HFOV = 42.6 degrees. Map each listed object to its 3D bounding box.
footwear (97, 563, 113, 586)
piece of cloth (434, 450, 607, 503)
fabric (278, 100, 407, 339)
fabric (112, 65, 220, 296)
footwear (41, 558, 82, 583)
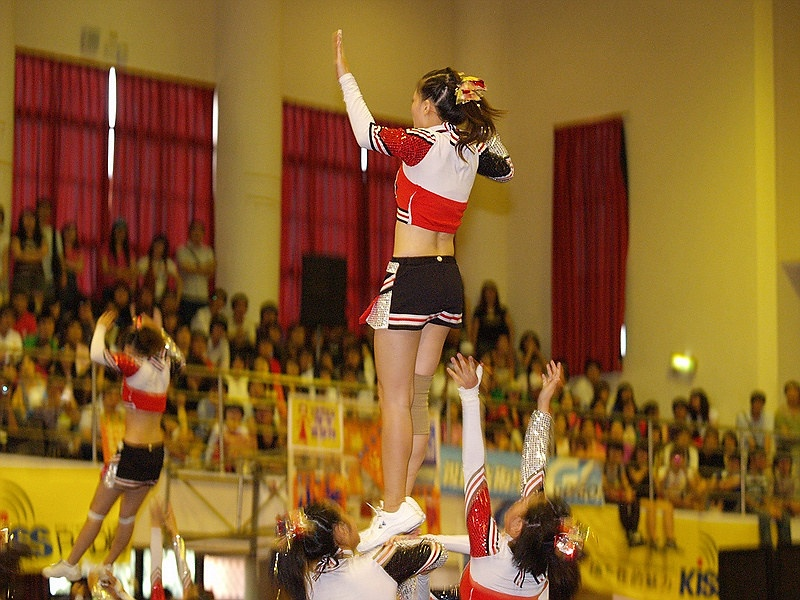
[{"bbox_3d":[-2.211,2.053,7.702,0.091,0.125,0.123,-2,10,2],"label":"footwear"},{"bbox_3d":[1.343,1.809,10.619,1.636,0.686,0.031,1,15,-6],"label":"piece of cloth"},{"bbox_3d":[-0.659,-1.371,14.410,1.990,0.118,2.978,1,-35,-5],"label":"fabric"},{"bbox_3d":[-3.075,-1.807,13.198,1.323,2.774,0.131,5,-43,-18],"label":"fabric"},{"bbox_3d":[-2.610,2.078,7.946,0.301,0.165,0.146,7,30,-13],"label":"footwear"}]
